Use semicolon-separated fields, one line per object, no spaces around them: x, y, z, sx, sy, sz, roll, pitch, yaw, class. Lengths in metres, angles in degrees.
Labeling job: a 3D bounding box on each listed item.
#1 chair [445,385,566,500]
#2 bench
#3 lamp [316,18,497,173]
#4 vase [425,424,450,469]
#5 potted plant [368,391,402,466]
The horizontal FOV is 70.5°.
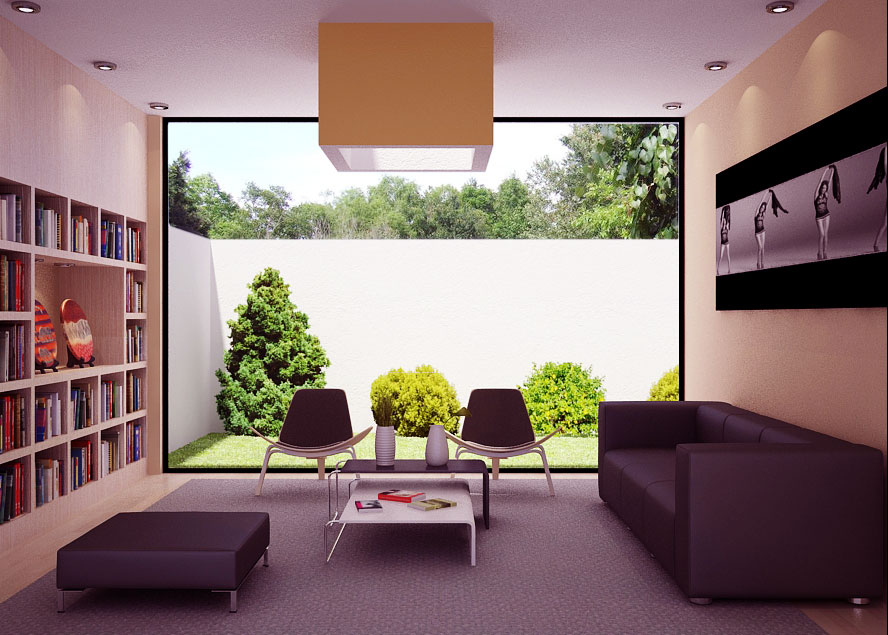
0.453;1.121;5.650;0.905;0.953;0.920;1;-4;-16;chair
-1.657;1.440;3.736;1.034;0.395;0.584;0;2;2;bench
-0.245;-1.576;4.740;0.985;0.677;1.088;1;-20;-1;lamp
-0.055;1.017;4.971;0.194;0.317;0.207;-1;-3;23;vase
-0.454;0.880;4.874;0.156;0.524;0.474;0;2;-7;potted plant
